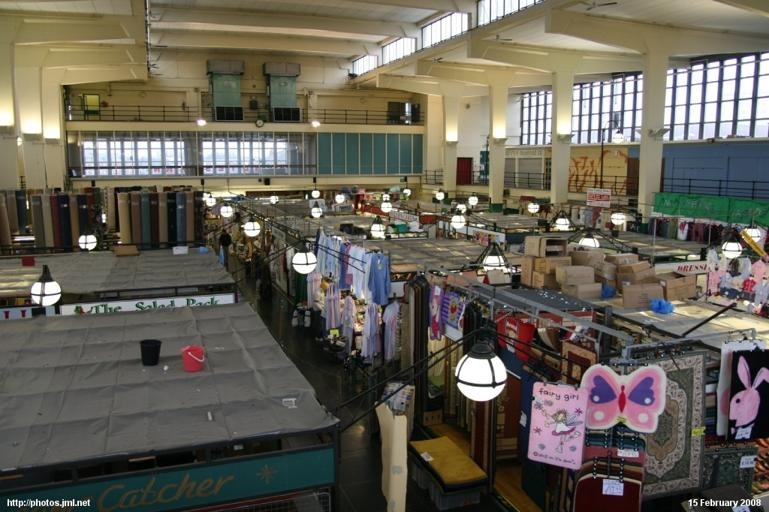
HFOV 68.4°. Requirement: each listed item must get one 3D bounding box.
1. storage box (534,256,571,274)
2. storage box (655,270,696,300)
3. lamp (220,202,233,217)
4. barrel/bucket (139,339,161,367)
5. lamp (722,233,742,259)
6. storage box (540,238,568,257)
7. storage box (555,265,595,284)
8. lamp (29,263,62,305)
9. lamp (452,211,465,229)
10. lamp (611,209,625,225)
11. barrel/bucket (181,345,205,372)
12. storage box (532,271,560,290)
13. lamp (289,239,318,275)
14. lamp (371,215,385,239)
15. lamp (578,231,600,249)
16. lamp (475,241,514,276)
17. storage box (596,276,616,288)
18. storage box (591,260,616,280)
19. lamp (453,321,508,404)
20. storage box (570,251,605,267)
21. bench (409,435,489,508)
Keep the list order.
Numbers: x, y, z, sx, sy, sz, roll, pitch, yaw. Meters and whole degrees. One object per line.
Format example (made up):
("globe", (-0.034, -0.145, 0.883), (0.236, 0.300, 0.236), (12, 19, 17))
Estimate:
("storage box", (3.195, 0.173, 10.929), (0.519, 0.226, 0.366), (-2, 3, -21))
("storage box", (5.180, 0.546, 10.099), (0.834, 0.493, 0.458), (-3, 4, -26))
("lamp", (-4.894, -1.361, 17.459), (0.300, 0.413, 0.893), (-6, 10, -19))
("barrel/bucket", (-3.189, 1.311, 7.849), (0.342, 0.327, 0.333), (2, 9, 0))
("lamp", (7.610, -0.187, 12.328), (0.287, 0.642, 0.869), (4, 12, 36))
("storage box", (3.481, -0.161, 11.490), (0.494, 0.308, 0.472), (0, 4, -1))
("storage box", (3.492, 0.358, 10.438), (0.530, 0.237, 0.369), (0, 7, -6))
("lamp", (-5.246, 0.468, 8.759), (0.476, 0.578, 0.459), (3, 11, -9))
("lamp", (2.086, -0.986, 16.037), (0.425, 0.504, 0.406), (0, 1, -16))
("lamp", (8.006, -1.200, 19.338), (0.308, 0.537, 1.359), (2, 10, 26))
("barrel/bucket", (-2.555, 1.370, 7.645), (0.343, 0.284, 0.319), (0, 2, 0))
("storage box", (3.060, 0.479, 10.885), (0.349, 0.218, 0.369), (3, 3, 43))
("lamp", (-1.545, 0.030, 10.884), (0.373, 0.620, 0.594), (-4, 10, -6))
("lamp", (-0.189, -0.746, 15.618), (0.341, 0.680, 0.750), (-4, 10, -2))
("lamp", (4.623, -0.343, 12.896), (0.441, 0.355, 0.446), (2, 3, 42))
("lamp", (2.131, 0.072, 11.551), (0.719, 0.536, 0.813), (3, 5, 43))
("storage box", (4.154, 0.511, 10.654), (0.259, 0.191, 0.364), (9, -2, -36))
("storage box", (4.156, 0.276, 10.711), (0.297, 0.351, 0.493), (-3, 3, -27))
("lamp", (1.003, 1.142, 5.920), (0.436, 0.745, 0.327), (-9, 12, -31))
("storage box", (4.083, 0.051, 11.160), (0.422, 0.240, 0.403), (0, 2, -17))
("bench", (1.110, 3.541, 9.245), (0.819, 0.480, 1.172), (-4, 15, -17))
